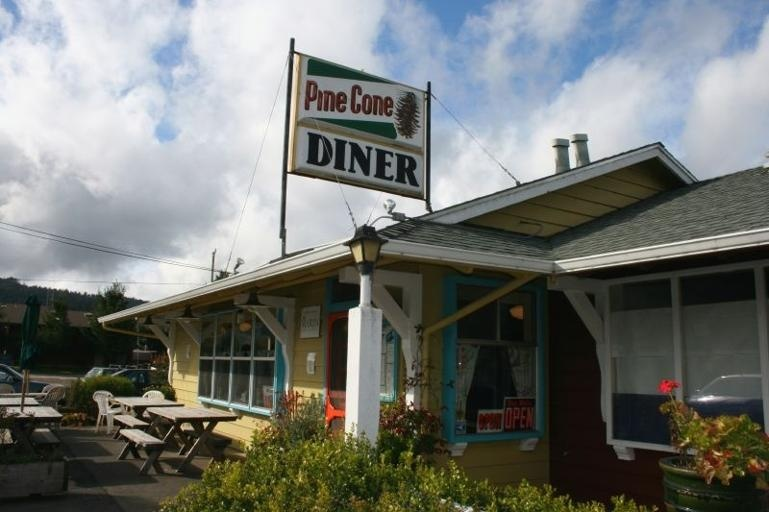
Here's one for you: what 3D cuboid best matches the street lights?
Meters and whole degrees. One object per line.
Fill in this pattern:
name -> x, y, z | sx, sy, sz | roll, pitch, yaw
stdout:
street lights -> -0.278, 1.084, 8.903 | 0.477, 2.764, 0.981 | 1, -14, -2

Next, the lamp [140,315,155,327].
lamp -> -6.431, 1.770, 17.963 | 0.358, 0.235, 1.044 | 8, -17, -23

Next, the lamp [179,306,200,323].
lamp -> -4.448, 1.348, 14.936 | 0.414, 0.281, 0.417 | 9, -17, -39

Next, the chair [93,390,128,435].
chair -> -6.511, 3.734, 16.057 | 0.600, 0.965, 0.590 | 2, 0, -15

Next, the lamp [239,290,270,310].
lamp -> -2.349, 0.801, 11.862 | 0.307, 0.215, 0.323 | 5, -13, -23
